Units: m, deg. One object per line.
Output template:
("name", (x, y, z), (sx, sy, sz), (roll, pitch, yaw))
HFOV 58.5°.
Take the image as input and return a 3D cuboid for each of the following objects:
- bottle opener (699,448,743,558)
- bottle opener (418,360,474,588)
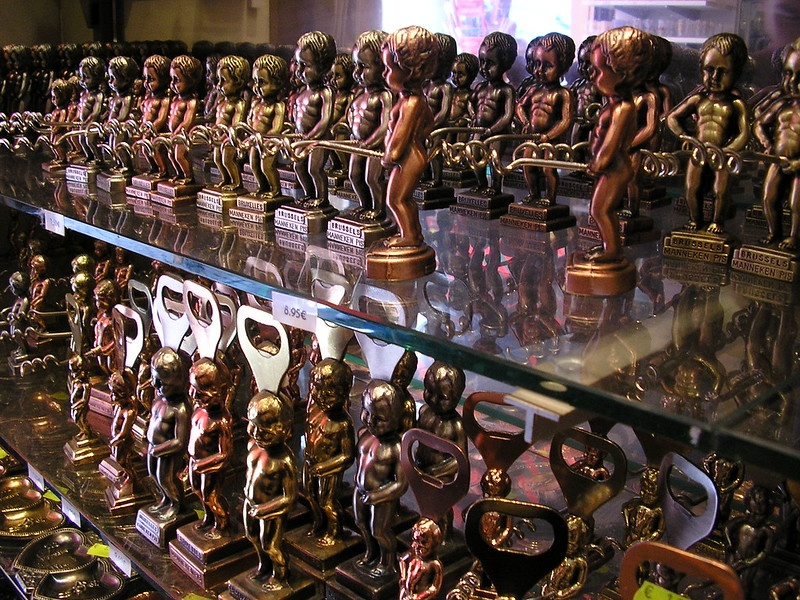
("bottle opener", (0.522, 0.322, 1.163), (0.040, 0.128, 0.060), (12, -5, -44))
("bottle opener", (0.068, 0.278, 1.225), (0.111, 0.357, 0.120), (-12, 24, -33))
